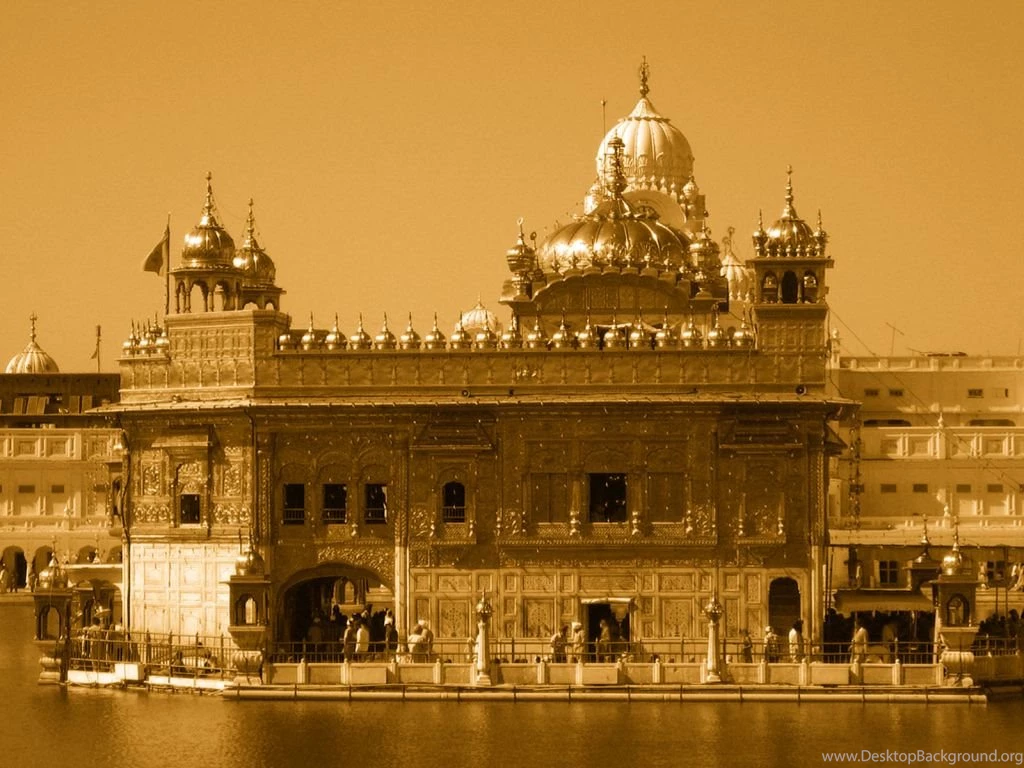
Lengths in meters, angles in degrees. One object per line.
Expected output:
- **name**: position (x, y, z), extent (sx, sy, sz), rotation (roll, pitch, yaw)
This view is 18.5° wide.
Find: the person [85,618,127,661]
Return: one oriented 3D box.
- **person**: position (-11.459, 7.206, 87.716), extent (1.117, 0.863, 1.431), rotation (-2, 6, -38)
